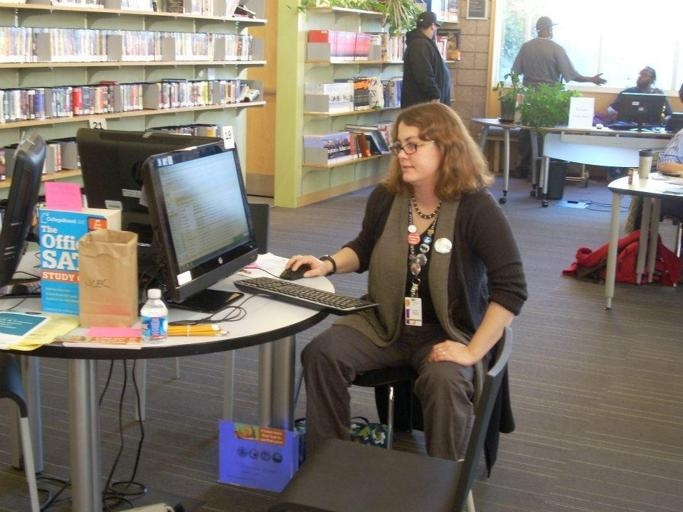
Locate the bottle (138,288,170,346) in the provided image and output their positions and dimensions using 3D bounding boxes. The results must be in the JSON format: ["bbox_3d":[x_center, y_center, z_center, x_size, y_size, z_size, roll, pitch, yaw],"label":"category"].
[{"bbox_3d":[-0.548,0.165,1.608,0.071,0.149,0.094,-7,16,-17],"label":"bottle"}]

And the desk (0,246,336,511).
[{"bbox_3d":[-0.488,0.376,1.813,0.935,0.467,0.882,2,7,14],"label":"desk"}]

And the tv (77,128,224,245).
[{"bbox_3d":[-0.926,-0.285,2.356,0.323,0.451,0.654,4,2,-12],"label":"tv"}]

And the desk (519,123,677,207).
[{"bbox_3d":[3.240,-1.388,7.242,2.032,0.875,1.039,3,7,15],"label":"desk"}]

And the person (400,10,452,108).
[{"bbox_3d":[0.989,-2.384,6.740,0.555,1.108,0.630,1,16,11],"label":"person"}]

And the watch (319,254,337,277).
[{"bbox_3d":[-0.073,0.038,2.344,0.033,0.073,0.079,-15,-20,-8],"label":"watch"}]

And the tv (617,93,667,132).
[{"bbox_3d":[3.907,-1.902,7.249,0.610,0.380,0.277,7,9,25],"label":"tv"}]

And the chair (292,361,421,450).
[{"bbox_3d":[0.057,0.622,2.417,0.504,0.470,0.467,2,2,15],"label":"chair"}]

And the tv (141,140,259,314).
[{"bbox_3d":[-0.498,-0.119,1.915,0.229,0.543,0.621,5,16,12],"label":"tv"}]

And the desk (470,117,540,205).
[{"bbox_3d":[2.151,-1.428,8.268,1.143,1.057,1.159,13,21,37],"label":"desk"}]
